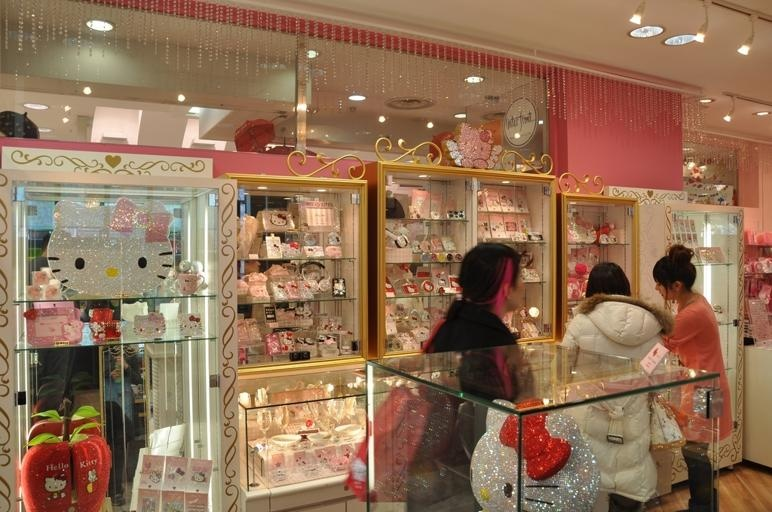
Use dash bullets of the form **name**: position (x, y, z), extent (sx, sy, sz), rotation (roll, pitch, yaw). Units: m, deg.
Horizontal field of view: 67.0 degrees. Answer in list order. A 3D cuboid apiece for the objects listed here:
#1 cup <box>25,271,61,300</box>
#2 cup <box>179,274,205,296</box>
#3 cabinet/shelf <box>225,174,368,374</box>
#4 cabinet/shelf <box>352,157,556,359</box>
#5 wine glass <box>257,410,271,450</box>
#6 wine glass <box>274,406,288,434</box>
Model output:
- **cup**: position (-1.979, 0.176, 3.417), extent (0.159, 0.162, 0.170), rotation (-1, -5, 0)
- **cup**: position (-1.211, 0.179, 3.678), extent (0.096, 0.111, 0.154), rotation (-3, -6, 33)
- **cabinet/shelf**: position (-0.646, 0.118, 4.666), extent (1.022, 1.409, 0.391), rotation (-2, -2, -15)
- **cabinet/shelf**: position (0.762, -0.066, 5.251), extent (1.441, 1.298, 0.439), rotation (-2, -3, -9)
- **wine glass**: position (-0.819, 1.174, 4.019), extent (0.084, 0.242, 0.055), rotation (-2, -2, -20)
- **wine glass**: position (-0.711, 1.138, 4.065), extent (0.089, 0.192, 0.042), rotation (-2, -2, -11)
